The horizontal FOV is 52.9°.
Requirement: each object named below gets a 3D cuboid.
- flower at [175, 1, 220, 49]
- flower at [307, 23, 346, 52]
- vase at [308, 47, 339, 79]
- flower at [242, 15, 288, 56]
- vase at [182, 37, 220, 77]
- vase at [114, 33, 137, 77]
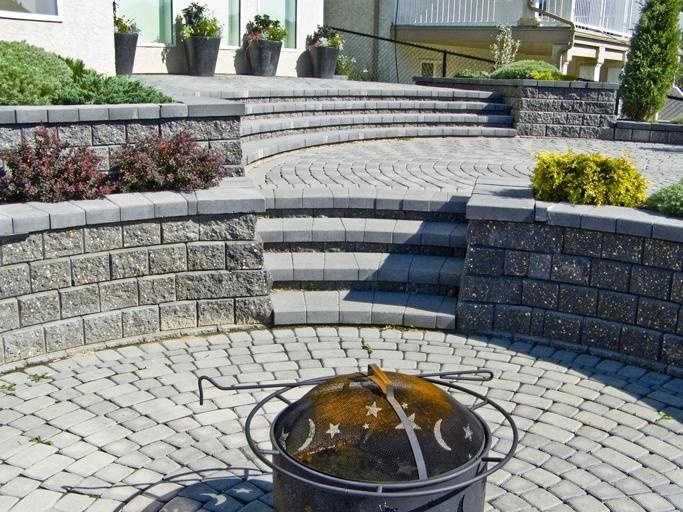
[{"bbox_3d":[-3.344,-5.395,15.932,0.902,0.888,1.024,-6,21,-27],"label":"flower"},{"bbox_3d":[-0.504,-5.870,18.534,0.970,0.590,0.785,6,18,10],"label":"flower"},{"bbox_3d":[-0.598,-5.215,18.824,1.024,0.709,0.938,1,12,10],"label":"vase"},{"bbox_3d":[-1.956,-5.553,17.225,0.800,0.851,0.803,-8,22,-30],"label":"flower"},{"bbox_3d":[-3.103,-4.679,16.201,1.102,0.897,0.899,1,14,1],"label":"vase"},{"bbox_3d":[-4.575,-4.233,14.518,0.416,0.851,0.759,3,19,-2],"label":"vase"}]
